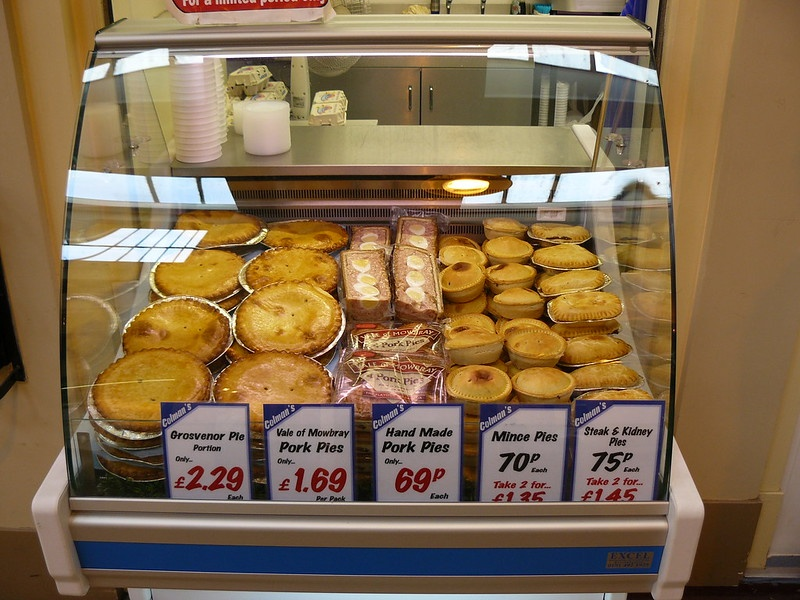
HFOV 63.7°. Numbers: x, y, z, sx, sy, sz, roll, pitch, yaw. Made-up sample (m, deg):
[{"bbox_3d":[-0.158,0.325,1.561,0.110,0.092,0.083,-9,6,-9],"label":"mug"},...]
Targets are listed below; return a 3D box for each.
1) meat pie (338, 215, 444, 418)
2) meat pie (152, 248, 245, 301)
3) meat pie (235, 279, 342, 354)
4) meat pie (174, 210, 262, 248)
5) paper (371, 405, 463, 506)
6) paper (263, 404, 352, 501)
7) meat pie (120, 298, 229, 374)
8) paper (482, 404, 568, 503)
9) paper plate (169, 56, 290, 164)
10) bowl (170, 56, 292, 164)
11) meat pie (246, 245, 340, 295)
[{"bbox_3d":[-0.018,0.013,1.810,0.292,0.150,0.494,0,51,-2],"label":"meat pie"},{"bbox_3d":[-0.593,-0.066,1.881,0.251,0.112,0.154,-12,29,-19],"label":"meat pie"},{"bbox_3d":[-0.315,0.063,1.808,0.289,0.122,0.204,-3,27,-2],"label":"meat pie"},{"bbox_3d":[-0.559,-0.223,1.996,0.233,0.028,0.229,-16,42,-42],"label":"meat pie"},{"bbox_3d":[0.042,0.370,1.579,0.337,0.340,0.032,0,20,0],"label":"paper"},{"bbox_3d":[-0.228,0.364,1.583,0.290,0.292,0.023,1,17,-1],"label":"paper"},{"bbox_3d":[-0.604,0.086,1.788,0.261,0.034,0.258,30,47,11],"label":"meat pie"},{"bbox_3d":[0.300,0.365,1.577,0.297,0.310,0.016,0,18,-2],"label":"paper"},{"bbox_3d":[-0.533,-0.575,1.975,0.345,0.244,0.135,-8,20,-28],"label":"paper plate"},{"bbox_3d":[-0.530,-0.577,1.974,0.342,0.243,0.134,-8,20,-27],"label":"bowl"},{"bbox_3d":[-0.328,-0.106,1.981,0.293,0.034,0.267,-7,27,-2],"label":"meat pie"}]
